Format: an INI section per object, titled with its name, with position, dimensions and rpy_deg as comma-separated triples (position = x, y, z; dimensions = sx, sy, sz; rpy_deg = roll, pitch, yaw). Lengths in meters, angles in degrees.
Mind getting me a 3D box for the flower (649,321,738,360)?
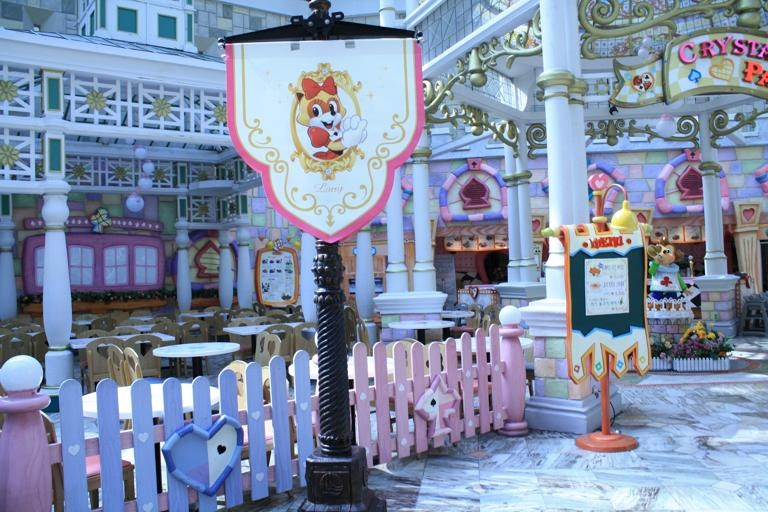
[flower]
position = 5.077, 1.484, 14.052
dimensions = 0.890, 0.447, 0.746
rpy_deg = -8, 3, 0
